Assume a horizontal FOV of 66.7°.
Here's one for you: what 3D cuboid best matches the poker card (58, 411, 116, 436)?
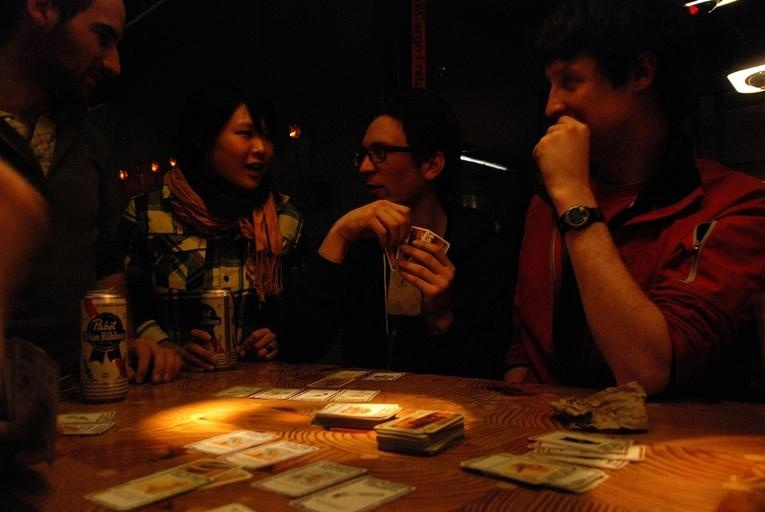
[{"bbox_3d":[-0.982,0.559,1.933,0.107,0.011,0.112,1,10,2],"label":"poker card"}]
